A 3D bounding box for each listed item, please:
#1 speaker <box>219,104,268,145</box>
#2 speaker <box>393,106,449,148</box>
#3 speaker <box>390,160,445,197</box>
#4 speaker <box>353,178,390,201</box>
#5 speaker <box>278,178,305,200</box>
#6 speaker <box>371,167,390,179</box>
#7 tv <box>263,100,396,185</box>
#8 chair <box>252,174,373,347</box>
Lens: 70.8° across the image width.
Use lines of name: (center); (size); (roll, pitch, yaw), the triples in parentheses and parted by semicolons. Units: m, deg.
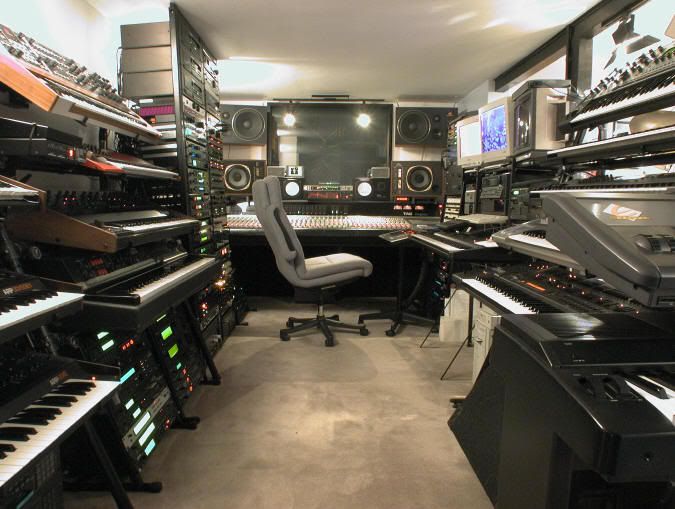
speaker: (-1.035, -1.435, 5.285); (0.491, 0.444, 0.215); (-4, 12, -7)
speaker: (0.851, -1.412, 5.360); (0.698, 0.411, 0.366); (-4, 14, -29)
speaker: (0.811, -0.752, 4.795); (0.651, 0.430, 0.326); (0, 6, 0)
speaker: (0.353, -0.642, 4.814); (0.410, 0.247, 0.218); (0, 6, -2)
speaker: (-0.433, -0.636, 4.764); (0.357, 0.292, 0.176); (-1, 5, -3)
speaker: (0.442, -0.819, 4.894); (0.148, 0.086, 0.144); (-1, 5, 2)
tv: (0.015, -1.326, 6.275); (1.681, 1.112, 0.854); (5, 12, 19)
chair: (-0.200, 0.051, 3.835); (0.940, 1.243, 0.722); (0, 4, -11)
